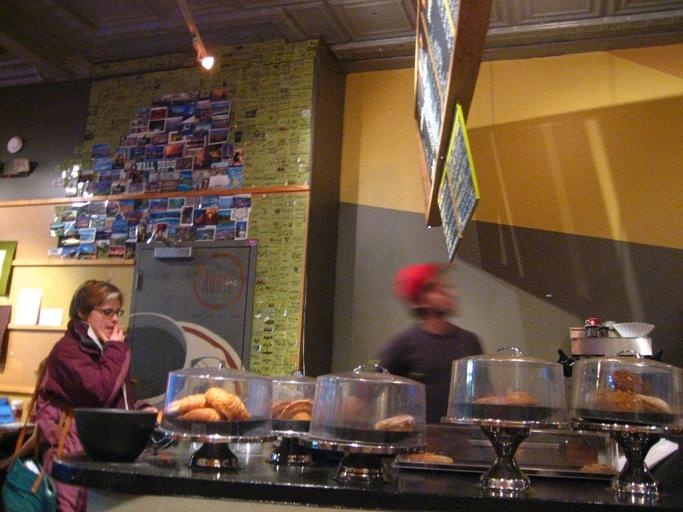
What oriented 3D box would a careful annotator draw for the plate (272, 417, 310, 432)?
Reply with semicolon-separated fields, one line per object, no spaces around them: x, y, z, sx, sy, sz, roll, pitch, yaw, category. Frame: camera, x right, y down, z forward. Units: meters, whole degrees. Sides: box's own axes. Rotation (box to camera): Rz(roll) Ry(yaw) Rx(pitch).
-0.226;0.737;2.340;0.162;0.051;0.053;2;-9;0;plate

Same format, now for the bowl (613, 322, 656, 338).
2.075;0.525;3.816;0.219;0.102;0.226;2;-8;0;bowl

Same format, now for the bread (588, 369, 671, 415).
1.089;0.507;1.991;0.153;0.066;0.201;6;0;-16;bread

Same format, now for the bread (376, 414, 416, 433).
0.209;0.627;2.010;0.100;0.036;0.072;-6;-7;-6;bread

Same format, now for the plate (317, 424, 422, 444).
0.108;0.669;2.019;0.381;0.054;0.088;2;-8;-1;plate

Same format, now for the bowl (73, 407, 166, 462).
-0.904;0.713;2.158;0.242;0.136;0.238;2;-22;1;bowl

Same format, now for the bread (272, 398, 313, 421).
-0.221;0.673;2.398;0.103;0.095;0.102;1;3;-26;bread

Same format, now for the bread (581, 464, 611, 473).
1.036;0.863;2.177;0.051;0.017;0.058;-1;-11;9;bread

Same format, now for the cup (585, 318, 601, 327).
1.734;0.459;3.700;0.092;0.053;0.068;2;-9;-3;cup

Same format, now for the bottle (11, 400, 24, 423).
-2.993;1.422;4.952;0.103;0.176;0.161;7;-10;-29;bottle

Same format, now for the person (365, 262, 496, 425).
0.593;0.509;3.340;0.900;0.804;0.325;3;-16;-25;person
